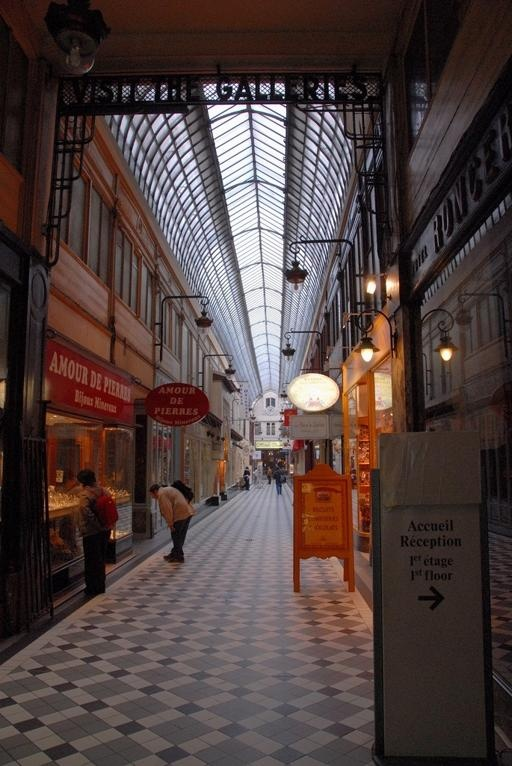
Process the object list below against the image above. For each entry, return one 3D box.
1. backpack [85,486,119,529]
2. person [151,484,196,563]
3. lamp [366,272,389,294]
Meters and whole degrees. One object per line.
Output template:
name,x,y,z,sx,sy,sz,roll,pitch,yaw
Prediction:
backpack,-1.778,1.454,5.851,0.343,0.484,0.354,1,-11,-5
person,-1.389,2.295,8.382,0.641,1.308,0.506,-7,5,8
lamp,1.787,-1.499,7.460,0.282,0.184,0.606,1,27,16
